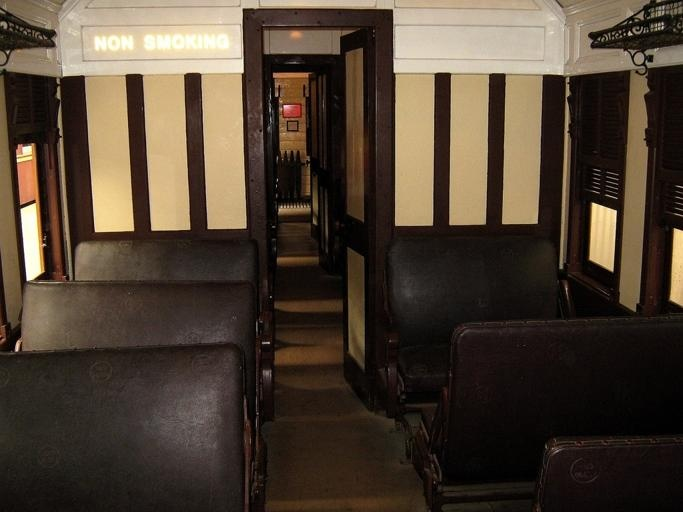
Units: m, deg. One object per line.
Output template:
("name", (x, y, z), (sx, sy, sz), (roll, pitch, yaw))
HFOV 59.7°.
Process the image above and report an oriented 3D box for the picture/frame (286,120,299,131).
("picture/frame", (-1.161, -3.120, 14.117), (0.197, 0.225, 0.019), (-12, 28, 9))
